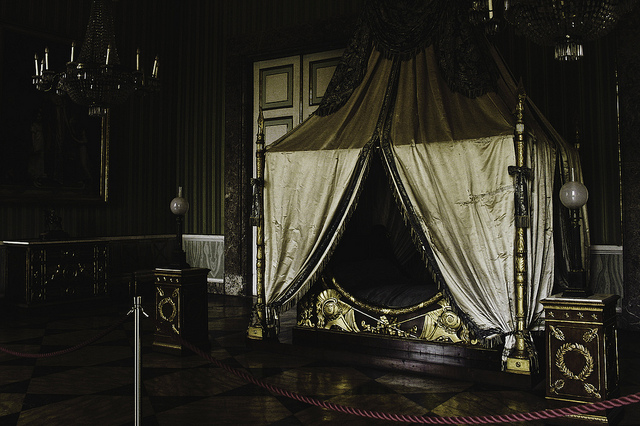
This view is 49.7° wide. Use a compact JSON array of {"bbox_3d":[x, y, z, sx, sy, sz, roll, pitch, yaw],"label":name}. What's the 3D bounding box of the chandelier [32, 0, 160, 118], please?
[{"bbox_3d":[-2.537,-1.799,7.673,1.388,1.411,0.955,1,-4,-10],"label":"chandelier"}]
